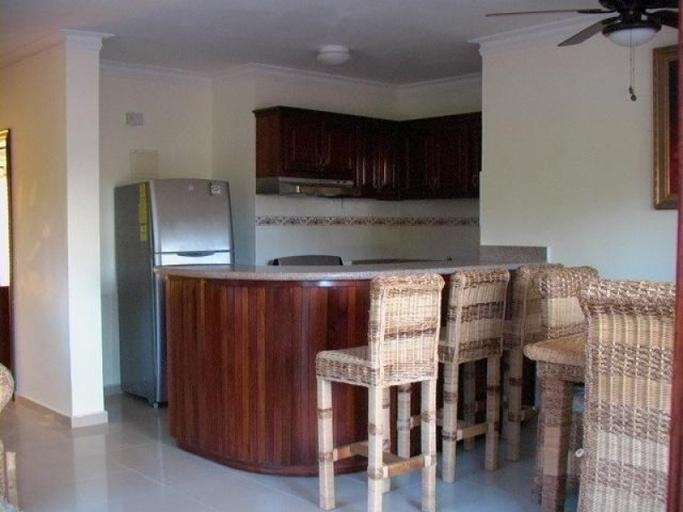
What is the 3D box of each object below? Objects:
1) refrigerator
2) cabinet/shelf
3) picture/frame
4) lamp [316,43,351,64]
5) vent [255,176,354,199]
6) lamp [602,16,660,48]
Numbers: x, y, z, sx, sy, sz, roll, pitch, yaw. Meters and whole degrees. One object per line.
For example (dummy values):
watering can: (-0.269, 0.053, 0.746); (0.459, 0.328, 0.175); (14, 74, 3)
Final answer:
refrigerator: (-1.543, 0.294, 5.491); (1.125, 1.941, 0.674); (-1, 4, -3)
cabinet/shelf: (0.299, -1.095, 6.282); (1.295, 0.535, 1.287); (-1, -1, -36)
picture/frame: (2.252, -0.892, 4.321); (0.162, 1.132, 0.187); (1, 5, 21)
lamp: (-0.059, -1.782, 5.465); (0.275, 0.120, 0.203); (-1, 4, -6)
vent: (-0.363, -0.689, 6.070); (0.965, 0.167, 0.470); (-1, 4, -4)
lamp: (1.530, -1.176, 3.263); (0.249, 0.117, 0.196); (-1, 4, -15)
